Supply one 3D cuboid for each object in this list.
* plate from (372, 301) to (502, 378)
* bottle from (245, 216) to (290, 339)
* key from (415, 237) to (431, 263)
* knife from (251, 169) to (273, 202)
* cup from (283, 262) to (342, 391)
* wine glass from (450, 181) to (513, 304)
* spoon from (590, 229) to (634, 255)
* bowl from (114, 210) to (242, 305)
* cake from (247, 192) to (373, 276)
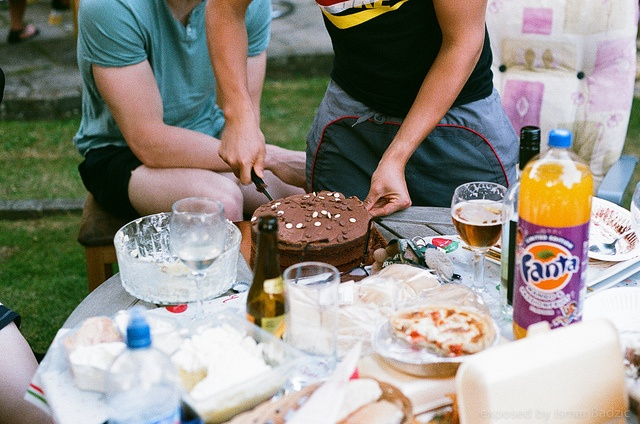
[{"bbox_3d":[0.289,0.322,1.493,0.313,0.097,0.161,-2,28,5],"label":"plate"},{"bbox_3d":[-0.143,0.158,1.485,0.103,0.309,0.123,-8,27,-7],"label":"bottle"},{"bbox_3d":[0.314,0.113,1.845,0.035,0.063,0.062,-23,8,24],"label":"key"},{"bbox_3d":[-0.259,-0.114,2.649,0.037,0.037,0.216,-34,42,5],"label":"knife"},{"bbox_3d":[-0.016,0.306,1.518,0.104,0.322,0.130,-6,25,-6],"label":"cup"},{"bbox_3d":[0.461,0.108,1.792,0.148,0.344,0.156,27,48,36],"label":"wine glass"},{"bbox_3d":[0.911,0.093,1.872,0.192,0.072,0.064,2,25,-46],"label":"spoon"},{"bbox_3d":[-0.424,0.119,1.820,0.384,0.290,0.337,-7,13,-25],"label":"bowl"},{"bbox_3d":[-0.015,0.012,1.973,0.360,0.230,0.415,-15,16,-21],"label":"cake"}]
